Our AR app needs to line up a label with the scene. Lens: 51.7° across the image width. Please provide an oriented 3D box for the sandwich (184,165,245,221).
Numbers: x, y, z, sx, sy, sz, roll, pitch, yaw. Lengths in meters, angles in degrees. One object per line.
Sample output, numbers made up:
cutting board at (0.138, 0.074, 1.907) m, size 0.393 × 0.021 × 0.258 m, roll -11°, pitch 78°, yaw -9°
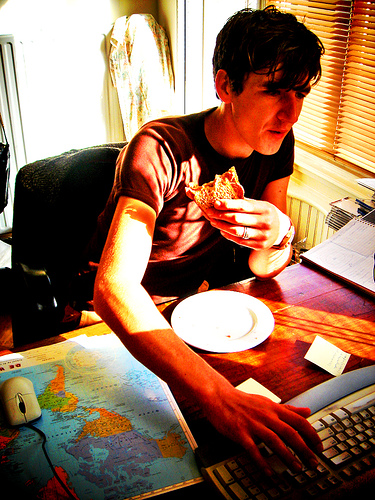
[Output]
sandwich at (0.081, -0.125, 0.967) m, size 0.140 × 0.058 × 0.129 m, roll -18°, pitch 41°, yaw 2°

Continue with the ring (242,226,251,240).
ring at (0.151, -0.042, 0.980) m, size 0.013 × 0.039 × 0.028 m, roll 15°, pitch 24°, yaw 31°
